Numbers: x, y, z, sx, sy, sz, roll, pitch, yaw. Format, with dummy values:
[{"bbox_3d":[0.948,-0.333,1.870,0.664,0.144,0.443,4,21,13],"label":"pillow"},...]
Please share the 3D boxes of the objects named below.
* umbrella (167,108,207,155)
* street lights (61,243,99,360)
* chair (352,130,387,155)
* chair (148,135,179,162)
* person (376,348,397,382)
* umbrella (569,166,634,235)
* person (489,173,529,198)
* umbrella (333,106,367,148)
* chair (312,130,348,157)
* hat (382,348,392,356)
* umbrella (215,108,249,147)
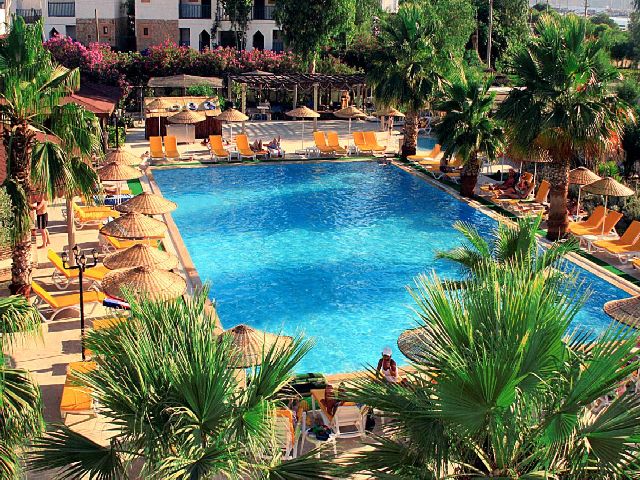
[{"bbox_3d":[-6.547,-5.387,29.324,1.685,1.931,1.654,0,31,-2],"label":"umbrella"},{"bbox_3d":[-4.990,1.321,12.296,0.781,2.167,0.823,-13,44,-29],"label":"street lights"},{"bbox_3d":[2.326,-4.872,30.069,0.899,0.637,1.691,-4,26,-10],"label":"chair"},{"bbox_3d":[-7.324,-4.273,27.637,1.254,0.862,1.357,-5,26,-24],"label":"chair"},{"bbox_3d":[1.120,2.112,9.853,0.335,0.521,0.777,5,12,7],"label":"person"},{"bbox_3d":[8.601,-1.108,17.824,1.716,1.724,1.740,-2,17,-4],"label":"umbrella"},{"bbox_3d":[7.207,-2.049,22.184,1.634,1.112,0.732,2,15,7],"label":"person"},{"bbox_3d":[1.701,-5.990,32.386,2.082,2.416,2.013,0,21,-1],"label":"umbrella"},{"bbox_3d":[0.375,-4.844,29.919,0.976,0.726,1.789,-5,30,-14],"label":"chair"},{"bbox_3d":[1.118,1.870,9.977,0.118,0.116,0.206,1,-2,9],"label":"hat"},{"bbox_3d":[-4.476,-5.546,30.447,2.095,1.762,2.153,-1,31,-10],"label":"umbrella"}]
